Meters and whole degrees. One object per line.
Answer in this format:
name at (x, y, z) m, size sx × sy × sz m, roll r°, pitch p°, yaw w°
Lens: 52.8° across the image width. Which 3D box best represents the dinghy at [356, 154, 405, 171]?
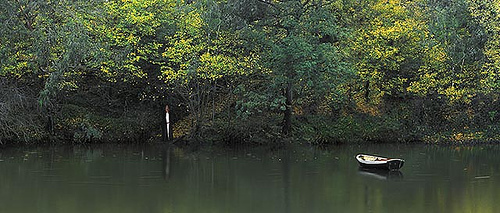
dinghy at (12.427, 5.474, 48.544) m, size 3.244 × 0.828 × 2.021 m, roll 4°, pitch -2°, yaw 31°
